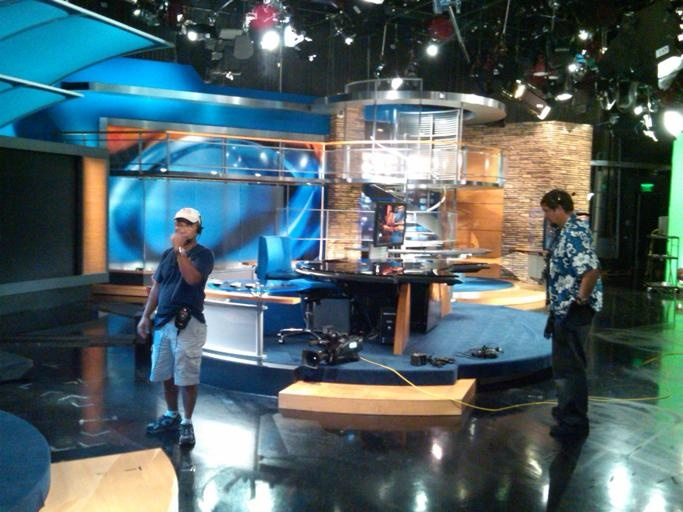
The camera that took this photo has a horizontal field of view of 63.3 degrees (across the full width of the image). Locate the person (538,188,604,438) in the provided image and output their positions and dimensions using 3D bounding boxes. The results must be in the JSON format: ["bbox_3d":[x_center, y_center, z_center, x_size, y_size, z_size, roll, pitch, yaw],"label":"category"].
[{"bbox_3d":[2.051,0.514,5.044,0.388,2.224,0.557,-5,11,-37],"label":"person"}]

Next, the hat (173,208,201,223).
[{"bbox_3d":[-1.308,-0.329,4.846,0.206,0.078,0.264,3,1,5],"label":"hat"}]

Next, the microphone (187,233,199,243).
[{"bbox_3d":[-1.313,-0.156,4.837,0.112,0.082,0.124,-1,0,26],"label":"microphone"}]

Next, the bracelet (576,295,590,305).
[{"bbox_3d":[2.103,0.383,4.845,0.094,0.050,0.096,0,-1,4],"label":"bracelet"}]

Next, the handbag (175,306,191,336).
[{"bbox_3d":[-1.330,0.534,4.716,0.131,0.186,0.063,18,-2,16],"label":"handbag"}]

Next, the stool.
[{"bbox_3d":[-0.394,0.725,6.895,0.842,0.698,0.780,1,-5,-31],"label":"stool"}]

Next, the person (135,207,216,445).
[{"bbox_3d":[-1.445,0.593,4.860,0.612,2.015,0.721,-1,9,-19],"label":"person"}]

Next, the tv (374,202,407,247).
[{"bbox_3d":[0.611,-0.418,7.083,0.092,0.402,0.689,6,7,34],"label":"tv"}]

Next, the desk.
[{"bbox_3d":[0.472,0.664,7.382,2.273,0.722,2.245,4,-3,10],"label":"desk"}]
